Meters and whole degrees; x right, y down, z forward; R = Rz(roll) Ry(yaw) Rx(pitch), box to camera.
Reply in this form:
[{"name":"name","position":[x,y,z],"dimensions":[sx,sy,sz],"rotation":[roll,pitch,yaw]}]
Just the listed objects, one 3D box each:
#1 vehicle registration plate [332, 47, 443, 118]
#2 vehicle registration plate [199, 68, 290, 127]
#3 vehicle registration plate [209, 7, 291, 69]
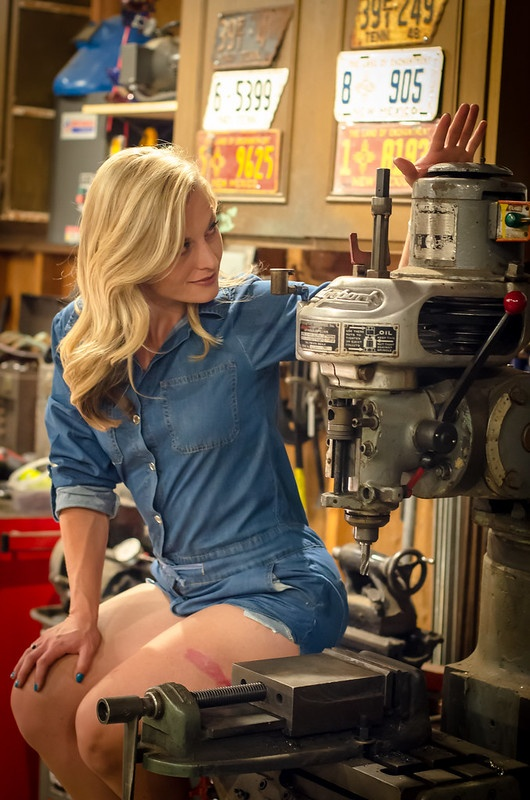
[{"name":"vehicle registration plate","position":[0.315,-0.816,1.998],"dimensions":[0.320,0.169,0.020],"rotation":[18,27,40]},{"name":"vehicle registration plate","position":[-0.077,-0.910,2.323],"dimensions":[0.300,0.181,0.027],"rotation":[-23,55,-41]},{"name":"vehicle registration plate","position":[-0.036,-1.072,2.269],"dimensions":[0.269,0.166,0.036],"rotation":[6,-3,40]}]
